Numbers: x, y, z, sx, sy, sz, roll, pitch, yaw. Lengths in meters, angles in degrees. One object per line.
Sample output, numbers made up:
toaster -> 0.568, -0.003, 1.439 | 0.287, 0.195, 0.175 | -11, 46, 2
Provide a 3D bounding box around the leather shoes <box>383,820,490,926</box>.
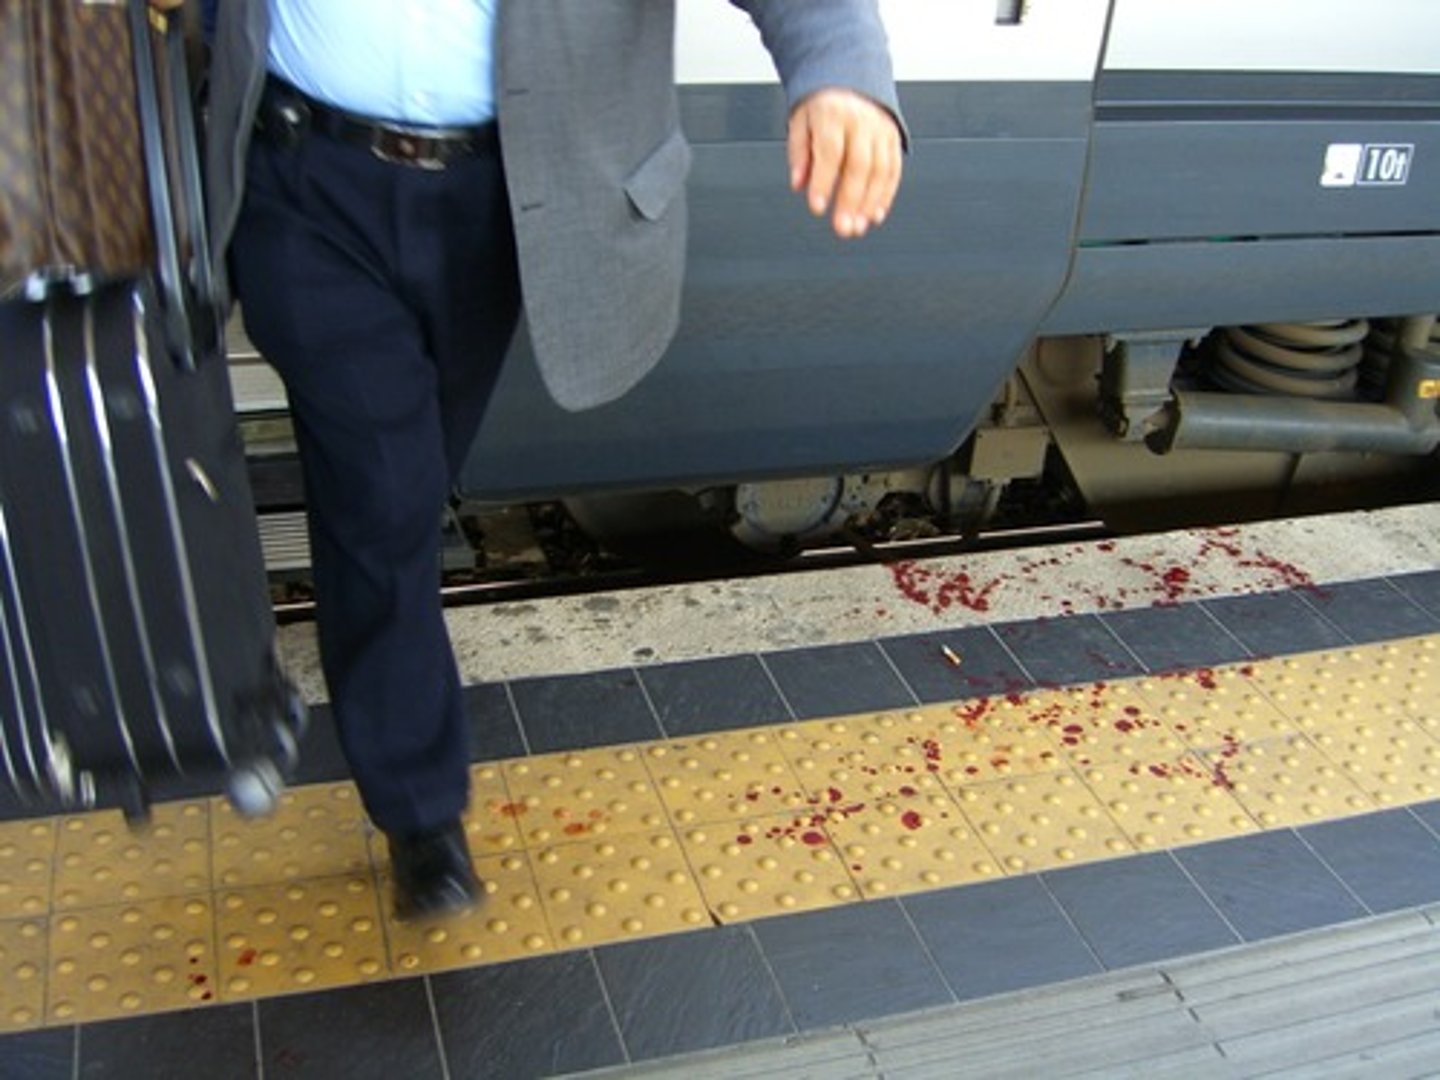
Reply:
leather shoes -> -0.543, 0.591, 1.741 | 0.116, 0.096, 0.255 | -11, 20, -20
